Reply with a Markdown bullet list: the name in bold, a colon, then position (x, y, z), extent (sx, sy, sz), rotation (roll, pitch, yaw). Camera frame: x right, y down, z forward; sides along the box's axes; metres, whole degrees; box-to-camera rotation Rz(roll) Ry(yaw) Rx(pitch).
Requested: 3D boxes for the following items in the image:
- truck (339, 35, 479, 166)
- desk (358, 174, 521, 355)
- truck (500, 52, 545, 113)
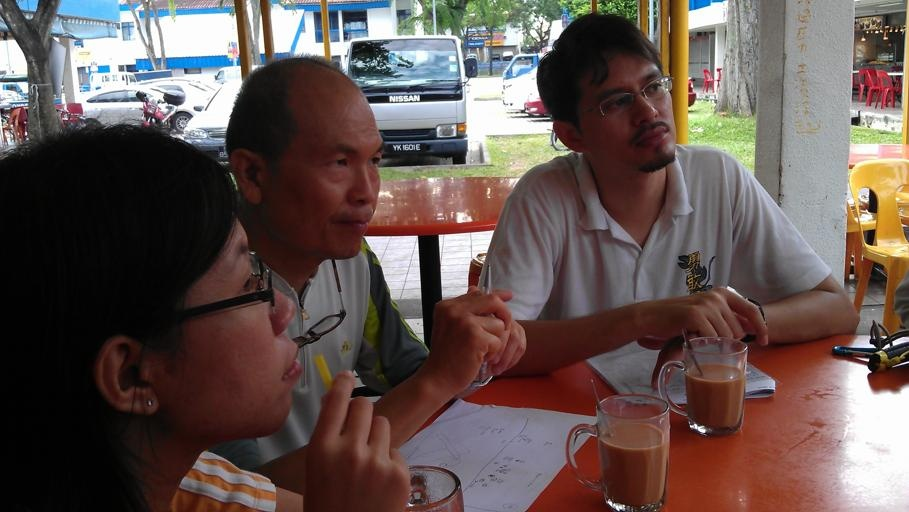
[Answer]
- **truck**: position (-0.574, -2.547, 10.947), extent (1.888, 1.581, 3.081), rotation (-1, 6, 3)
- **desk**: position (-0.167, -0.026, 3.962), extent (0.950, 0.993, 0.927), rotation (-9, 18, -43)
- **truck**: position (2.351, -4.860, 18.206), extent (1.195, 1.554, 1.821), rotation (-3, 9, -45)
